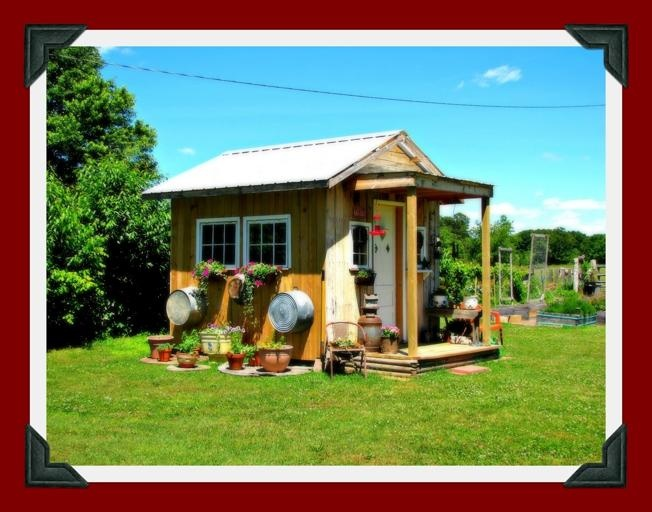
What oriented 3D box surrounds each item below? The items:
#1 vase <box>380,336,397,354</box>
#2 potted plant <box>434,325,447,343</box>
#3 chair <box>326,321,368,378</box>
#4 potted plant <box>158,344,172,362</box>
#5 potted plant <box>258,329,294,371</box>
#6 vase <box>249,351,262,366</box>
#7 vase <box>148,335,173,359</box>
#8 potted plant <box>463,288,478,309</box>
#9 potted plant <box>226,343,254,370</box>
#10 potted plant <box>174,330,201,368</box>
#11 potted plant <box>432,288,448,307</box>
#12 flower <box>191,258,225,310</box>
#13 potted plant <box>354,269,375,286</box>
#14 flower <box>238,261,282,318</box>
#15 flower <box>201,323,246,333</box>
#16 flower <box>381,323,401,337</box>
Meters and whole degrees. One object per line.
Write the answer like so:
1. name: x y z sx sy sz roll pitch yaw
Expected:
1. vase: 1.093 1.509 13.341 0.185 0.301 0.365 -2 -3 27
2. potted plant: 2.239 1.530 15.343 0.180 0.217 0.398 -1 5 -17
3. chair: 0.327 1.533 13.051 0.728 1.037 0.761 -9 -14 36
4. potted plant: -2.932 1.780 14.442 0.224 0.224 0.256 0 -10 3
5. potted plant: -0.833 1.625 13.204 0.477 0.622 0.558 1 -6 -6
6. vase: -1.201 1.792 13.750 0.227 0.207 0.249 0 -3 0
7. vase: -3.091 1.701 14.811 0.362 0.327 0.403 -1 -7 12
8. potted plant: 2.774 0.817 14.990 0.299 0.553 0.337 0 2 -4
9. potted plant: -1.445 1.753 13.599 0.464 0.342 0.851 -1 5 -6
10. potted plant: -2.479 1.690 14.411 0.424 0.723 0.501 -13 -10 25
11. potted plant: 2.199 0.803 15.215 0.273 0.313 0.265 3 -8 -5
12. flower: -2.316 0.401 15.117 0.461 0.753 0.572 3 28 -20
13. potted plant: 0.706 0.393 13.947 0.270 0.239 0.266 2 -8 -6
14. flower: -1.224 0.637 14.104 0.932 0.979 0.392 4 6 44
15. flower: -1.866 1.354 14.534 0.834 0.141 0.399 3 6 36
16. flower: 1.087 1.275 13.345 0.231 0.199 0.242 -1 -3 35
